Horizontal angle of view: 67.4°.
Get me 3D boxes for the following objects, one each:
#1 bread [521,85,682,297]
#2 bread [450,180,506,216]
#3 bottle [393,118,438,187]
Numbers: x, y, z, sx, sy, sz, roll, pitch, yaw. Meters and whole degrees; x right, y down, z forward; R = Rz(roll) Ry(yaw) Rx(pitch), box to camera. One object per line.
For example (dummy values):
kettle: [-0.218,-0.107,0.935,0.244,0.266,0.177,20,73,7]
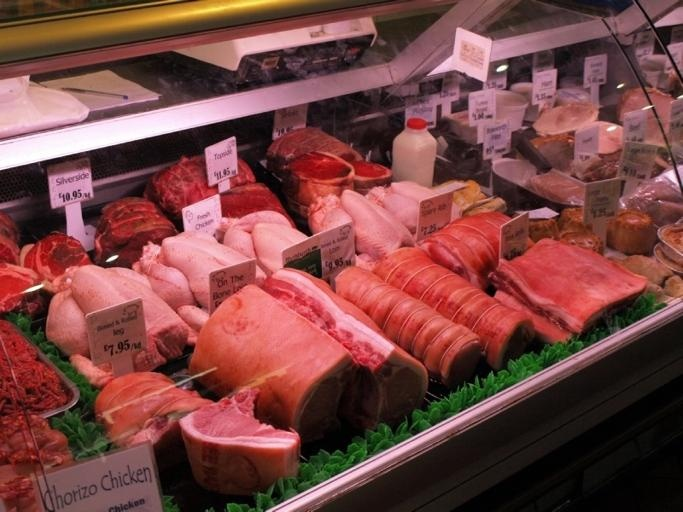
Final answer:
bread: [1.310,-0.286,2.751,0.896,0.232,0.952,31,63,0]
bread: [0.652,-0.267,2.444,0.197,0.073,0.196,27,47,22]
bottle: [0.346,-0.499,2.477,0.181,0.351,0.180,-1,32,0]
